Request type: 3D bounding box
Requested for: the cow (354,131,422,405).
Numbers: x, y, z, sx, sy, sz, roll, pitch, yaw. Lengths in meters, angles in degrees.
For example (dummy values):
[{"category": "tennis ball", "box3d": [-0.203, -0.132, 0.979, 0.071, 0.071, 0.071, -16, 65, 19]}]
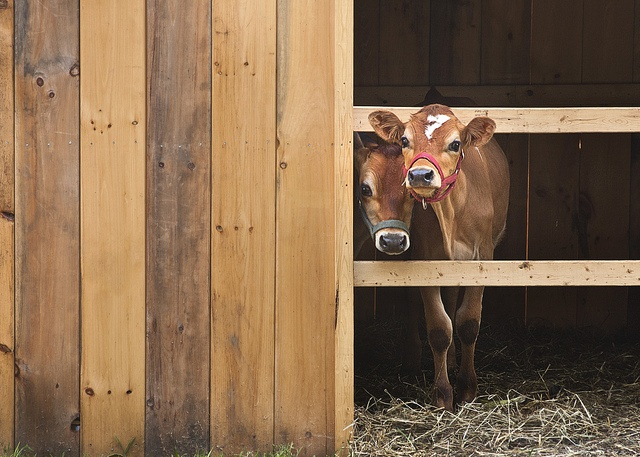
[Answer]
[{"category": "cow", "box3d": [0.495, 0.208, 7.750, 0.453, 1.855, 1.171, -1, 5, 6]}]
